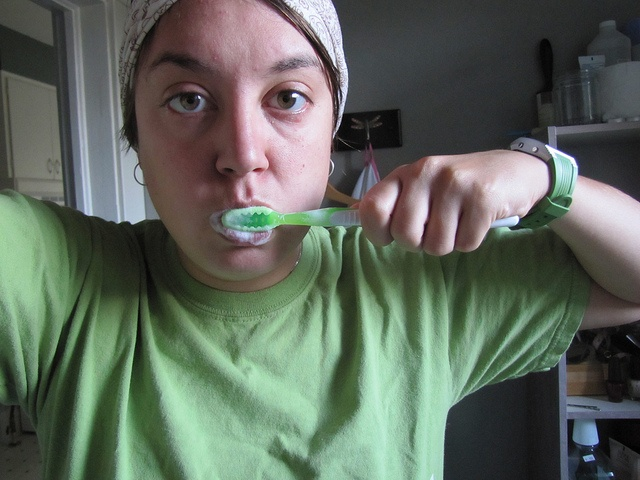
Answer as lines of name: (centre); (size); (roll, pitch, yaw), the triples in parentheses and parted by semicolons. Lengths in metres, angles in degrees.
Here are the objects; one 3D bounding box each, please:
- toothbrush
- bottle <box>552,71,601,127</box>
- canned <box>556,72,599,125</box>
toothbrush: (-0.052, -0.037, 1.129); (0.250, 0.049, 0.066); (2, 0, 4)
bottle: (0.865, -0.465, 2.128); (0.155, 0.171, 0.155); (-5, 4, -42)
canned: (0.867, -0.464, 2.124); (0.143, 0.163, 0.151); (0, 4, 32)
